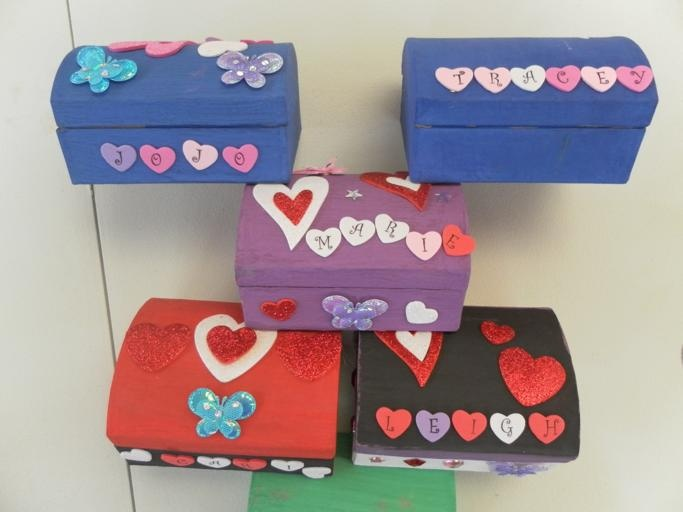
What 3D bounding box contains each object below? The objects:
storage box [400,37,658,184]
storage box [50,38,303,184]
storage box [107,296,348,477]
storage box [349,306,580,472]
[{"bbox_3d":[0.547,-0.435,2.178,0.674,0.385,0.469,0,40,-1],"label":"storage box"},{"bbox_3d":[-0.454,-0.491,2.391,0.730,0.375,0.512,2,28,10],"label":"storage box"},{"bbox_3d":[-0.348,0.390,2.320,0.706,0.301,0.417,7,35,10],"label":"storage box"},{"bbox_3d":[0.396,0.431,2.278,0.623,0.339,0.493,0,73,2],"label":"storage box"}]
